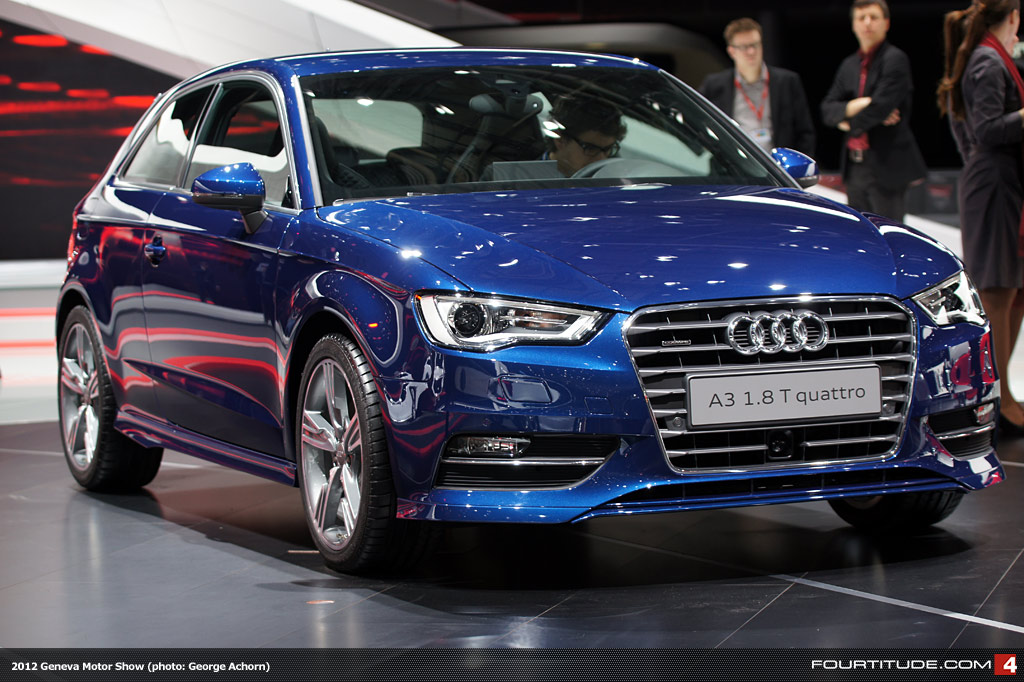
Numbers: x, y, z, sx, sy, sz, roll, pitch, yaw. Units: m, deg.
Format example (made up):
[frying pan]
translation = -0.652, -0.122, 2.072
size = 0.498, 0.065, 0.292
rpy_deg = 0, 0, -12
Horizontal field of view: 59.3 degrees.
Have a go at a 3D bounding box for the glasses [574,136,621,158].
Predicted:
[glasses]
translation = 0.418, -0.903, 4.226
size = 0.153, 0.040, 0.144
rpy_deg = -2, 7, -37

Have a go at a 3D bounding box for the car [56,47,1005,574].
[car]
translation = -0.490, -0.280, 4.339
size = 2.485, 1.351, 4.020
rpy_deg = -1, 2, -33

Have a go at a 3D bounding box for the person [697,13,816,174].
[person]
translation = 2.515, -2.211, 9.127
size = 1.017, 2.061, 0.650
rpy_deg = 5, 44, 31

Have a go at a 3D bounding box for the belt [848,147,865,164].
[belt]
translation = 3.309, -1.802, 8.686
size = 0.134, 0.128, 0.150
rpy_deg = 4, 39, -2

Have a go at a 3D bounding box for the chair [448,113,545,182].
[chair]
translation = -0.080, -0.879, 4.155
size = 0.417, 0.353, 0.181
rpy_deg = 18, -13, -33
